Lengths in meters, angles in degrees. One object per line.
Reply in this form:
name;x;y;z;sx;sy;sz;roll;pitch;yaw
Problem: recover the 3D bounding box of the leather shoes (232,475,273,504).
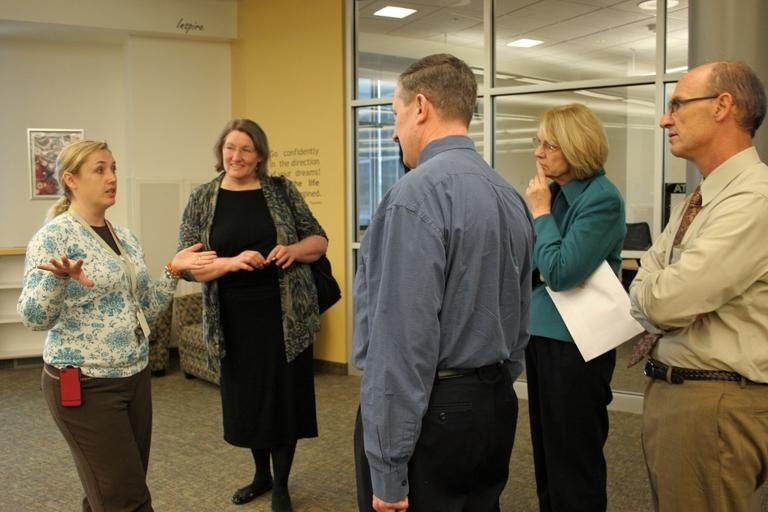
leather shoes;-0.909;1.591;4.082;0.308;0.212;0.101;-4;7;-36
